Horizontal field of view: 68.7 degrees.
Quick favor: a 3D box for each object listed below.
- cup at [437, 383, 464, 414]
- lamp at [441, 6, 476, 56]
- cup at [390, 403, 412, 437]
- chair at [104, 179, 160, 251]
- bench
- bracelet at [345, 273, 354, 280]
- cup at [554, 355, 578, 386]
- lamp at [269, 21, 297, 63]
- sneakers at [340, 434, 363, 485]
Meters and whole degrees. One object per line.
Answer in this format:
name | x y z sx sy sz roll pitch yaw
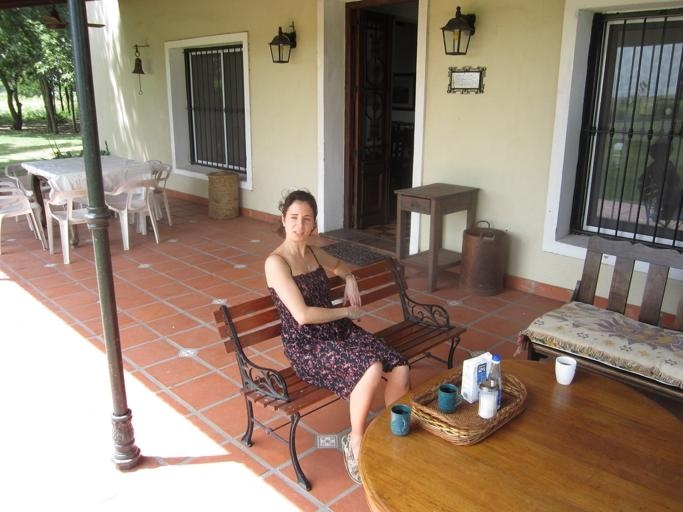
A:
cup | 0.580 0.783 2.763 0.147 0.139 0.141 1 0 0
lamp | 1.366 -2.663 5.935 0.407 0.522 0.425 5 23 16
cup | 0.286 0.855 2.588 0.109 0.108 0.132 0 7 -4
chair | -3.123 -0.621 7.467 0.814 1.062 0.795 -19 48 -34
bench | 0.086 0.732 3.798 1.898 0.956 0.769 -14 22 -42
bracelet | 0.066 0.156 3.788 0.043 0.023 0.057 5 9 12
cup | 1.322 0.696 3.050 0.154 0.155 0.152 -2 4 0
lamp | -0.943 -3.443 7.994 0.393 0.630 0.295 -11 23 -32
sneakers | 0.077 1.281 3.196 0.114 0.301 0.124 -14 -9 -32
